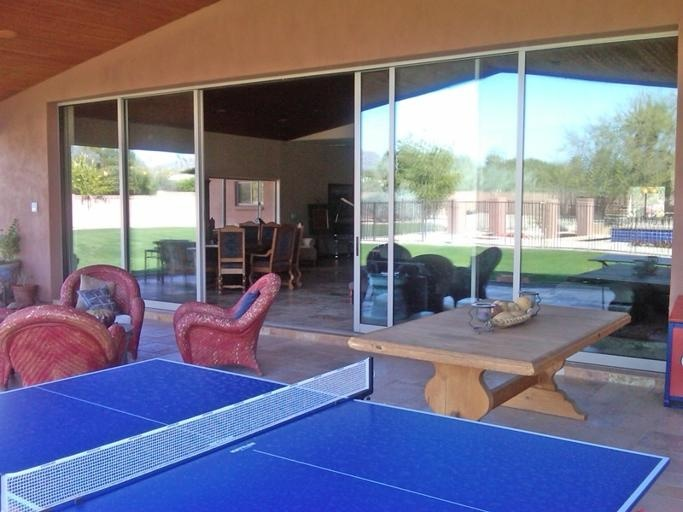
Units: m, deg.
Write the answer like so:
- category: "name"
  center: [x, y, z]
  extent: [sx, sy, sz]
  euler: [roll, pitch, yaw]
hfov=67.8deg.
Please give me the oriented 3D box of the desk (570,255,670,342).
- category: "desk"
  center: [2.899, 0.369, 5.263]
  extent: [0.750, 0.432, 0.934]
  euler: [1, 5, 28]

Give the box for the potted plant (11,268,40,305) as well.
- category: "potted plant"
  center: [-5.594, 0.533, 9.020]
  extent: [0.405, 0.381, 0.708]
  euler: [-4, 3, -34]

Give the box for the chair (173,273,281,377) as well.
- category: "chair"
  center: [-1.212, 0.668, 5.330]
  extent: [1.069, 0.862, 0.763]
  euler: [-2, 7, -20]

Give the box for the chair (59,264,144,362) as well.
- category: "chair"
  center: [-2.616, 0.651, 5.575]
  extent: [0.918, 0.962, 0.908]
  euler: [2, 4, 7]
